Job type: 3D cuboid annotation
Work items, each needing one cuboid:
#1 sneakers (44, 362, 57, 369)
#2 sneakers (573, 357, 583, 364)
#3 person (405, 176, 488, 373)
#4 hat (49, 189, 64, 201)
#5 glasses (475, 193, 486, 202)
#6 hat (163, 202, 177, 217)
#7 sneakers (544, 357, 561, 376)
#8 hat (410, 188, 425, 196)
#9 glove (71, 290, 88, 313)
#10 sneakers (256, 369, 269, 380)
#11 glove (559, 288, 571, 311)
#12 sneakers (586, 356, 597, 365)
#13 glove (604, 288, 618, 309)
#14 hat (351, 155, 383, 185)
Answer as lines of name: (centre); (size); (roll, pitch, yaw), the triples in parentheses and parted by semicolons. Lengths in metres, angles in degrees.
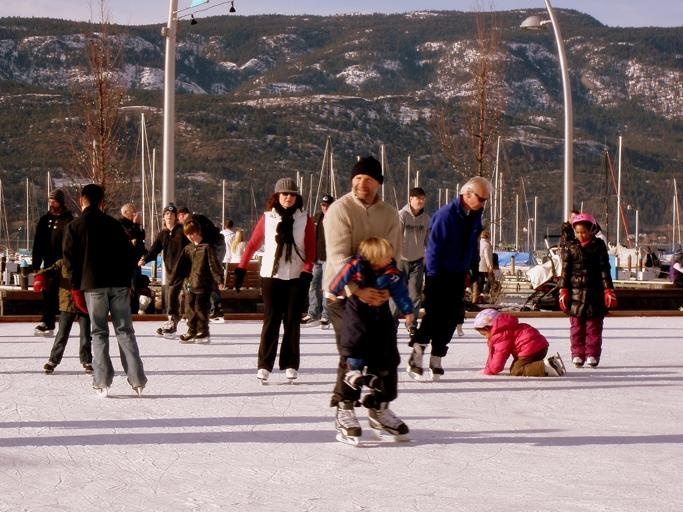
sneakers: (-3.621, 1.363, 14.916); (0.109, 0.092, 0.225); (0, -6, -9)
sneakers: (3.131, 1.381, 15.796); (0.130, 0.093, 0.105); (1, 0, 12)
person: (1.318, 0.280, 14.656); (0.960, 2.268, 0.435); (1, 0, 3)
hat: (-3.878, -0.825, 16.297); (0.149, 0.157, 0.152); (1, -7, 7)
glasses: (1.693, -0.688, 14.506); (0.032, 0.101, 0.096); (-33, -16, 12)
hat: (-2.846, -0.752, 19.838); (0.233, 0.241, 0.307); (2, -29, -14)
sneakers: (2.668, 1.434, 15.068); (0.137, 0.337, 0.123); (-16, -2, 7)
hat: (1.125, -0.926, 17.719); (0.134, 0.146, 0.169); (2, 13, 6)
glove: (-3.018, 0.527, 13.773); (0.216, 0.107, 0.290); (-6, -39, -5)
sneakers: (-0.938, 1.428, 14.371); (0.123, 0.113, 0.142); (3, 9, 5)
glove: (2.956, 0.585, 15.824); (0.078, 0.267, 0.165); (-6, -2, 24)
sneakers: (3.320, 1.391, 15.785); (0.131, 0.119, 0.102); (1, 0, 16)
glove: (3.609, 0.565, 15.721); (0.180, 0.244, 0.237); (5, -10, -17)
hat: (0.273, -0.864, 12.191); (0.262, 0.236, 0.281); (7, 6, 15)
